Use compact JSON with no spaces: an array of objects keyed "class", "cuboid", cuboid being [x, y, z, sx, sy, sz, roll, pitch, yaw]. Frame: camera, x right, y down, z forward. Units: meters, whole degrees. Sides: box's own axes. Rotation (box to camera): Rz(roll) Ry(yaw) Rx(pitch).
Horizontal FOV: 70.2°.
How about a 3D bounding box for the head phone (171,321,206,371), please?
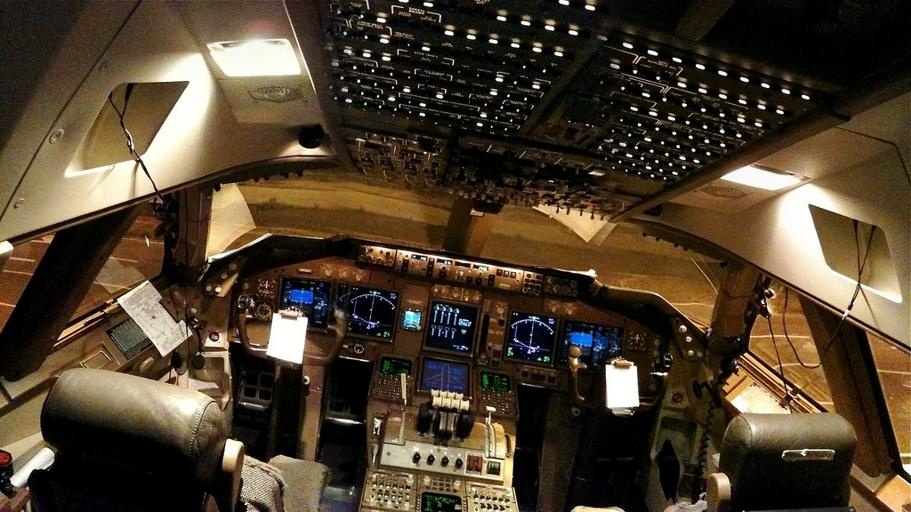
[{"class":"head phone","cuboid":[-2.890,0.994,6.959,0.332,0.511,0.195,-5,13,-32]}]
